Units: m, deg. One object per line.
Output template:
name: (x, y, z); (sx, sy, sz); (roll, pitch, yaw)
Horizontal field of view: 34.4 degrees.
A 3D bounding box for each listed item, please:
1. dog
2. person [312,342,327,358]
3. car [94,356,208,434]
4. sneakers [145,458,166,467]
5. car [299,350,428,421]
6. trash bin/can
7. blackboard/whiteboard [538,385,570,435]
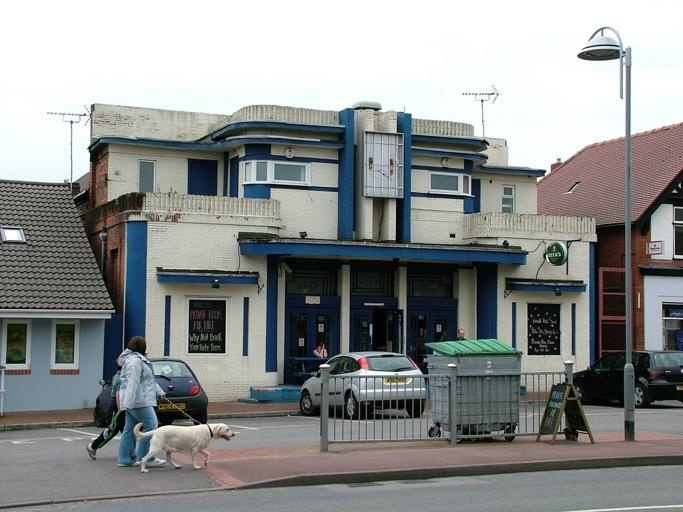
dog: (-3.148, 3.721, 21.690); (1.921, 0.912, 1.125); (1, -5, -19)
person: (-0.751, 3.143, 36.415); (0.447, 0.795, 0.344); (-11, -9, 38)
car: (-4.529, 3.458, 28.025); (1.616, 1.373, 2.862); (0, -1, -23)
sneakers: (-3.644, 4.058, 21.673); (0.379, 0.175, 0.136); (0, -2, -9)
car: (0.541, 3.013, 25.362); (1.624, 1.215, 2.945); (2, -1, -28)
trash bin/can: (2.927, 2.988, 24.351); (2.036, 2.204, 1.135); (-1, -5, 0)
blackboard/whiteboard: (4.618, 3.405, 24.147); (0.453, 1.252, 0.925); (1, -5, -19)
